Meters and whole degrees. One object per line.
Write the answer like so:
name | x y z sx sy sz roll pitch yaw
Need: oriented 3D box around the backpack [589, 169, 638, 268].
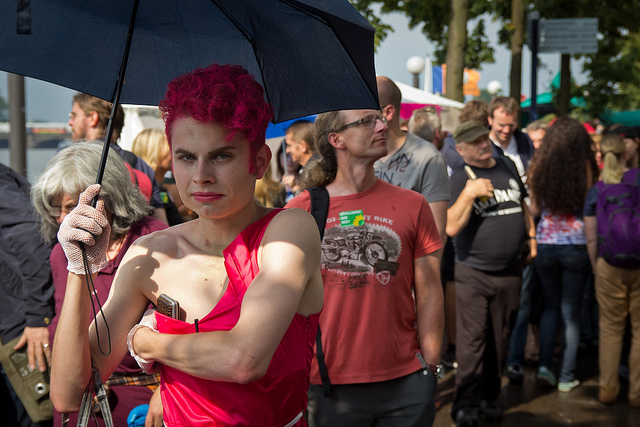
backpack | 3.023 0.067 7.513 0.396 0.969 0.280 2 4 23

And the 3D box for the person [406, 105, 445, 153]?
person | 1.386 -0.974 9.461 0.379 0.791 0.485 -1 12 34

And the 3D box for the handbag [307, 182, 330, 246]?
handbag | 0.004 0.012 5.467 0.178 0.365 0.320 0 6 -1

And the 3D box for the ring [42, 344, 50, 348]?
ring | -2.173 1.048 5.847 0.059 0.028 0.011 2 4 18

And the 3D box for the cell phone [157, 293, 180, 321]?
cell phone | -0.829 0.518 4.030 0.120 0.143 0.044 0 -1 39

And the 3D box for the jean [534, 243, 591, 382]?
jean | 2.656 1.093 8.177 0.589 1.552 0.328 2 4 22

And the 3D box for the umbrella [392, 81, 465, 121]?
umbrella | 1.937 -1.772 12.584 1.156 0.460 1.294 12 -1 -3
